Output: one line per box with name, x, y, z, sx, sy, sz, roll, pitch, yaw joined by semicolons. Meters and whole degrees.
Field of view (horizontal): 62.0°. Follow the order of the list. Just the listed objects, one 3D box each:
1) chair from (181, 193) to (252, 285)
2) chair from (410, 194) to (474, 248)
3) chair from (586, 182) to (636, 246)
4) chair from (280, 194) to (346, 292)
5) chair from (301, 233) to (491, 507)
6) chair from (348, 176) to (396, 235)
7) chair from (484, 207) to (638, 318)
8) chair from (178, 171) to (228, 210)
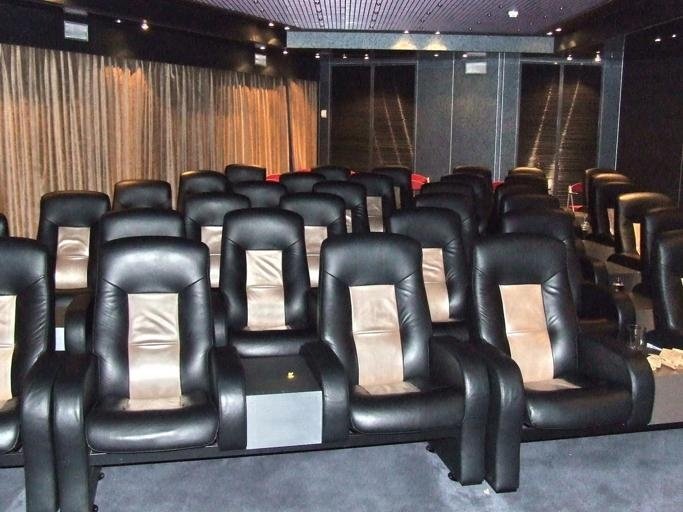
chair;-0.883;-0.207;4.720;0.566;0.802;0.691;0;2;-10
chair;0.832;-0.261;4.821;0.403;0.455;0.569;1;-7;6
chair;2.985;-0.420;6.368;0.486;0.536;0.445;18;-2;-4
chair;-0.404;-0.141;4.585;0.689;0.755;0.649;-1;5;-11
chair;0.262;0.545;3.080;0.870;1.277;0.688;-4;9;-14
chair;0.178;-0.542;5.900;0.487;0.681;0.584;-1;-1;-2
chair;1.680;0.047;4.304;0.828;1.111;0.952;-5;4;-17
chair;-1.447;-0.755;5.867;0.524;0.565;0.532;0;-6;-10
